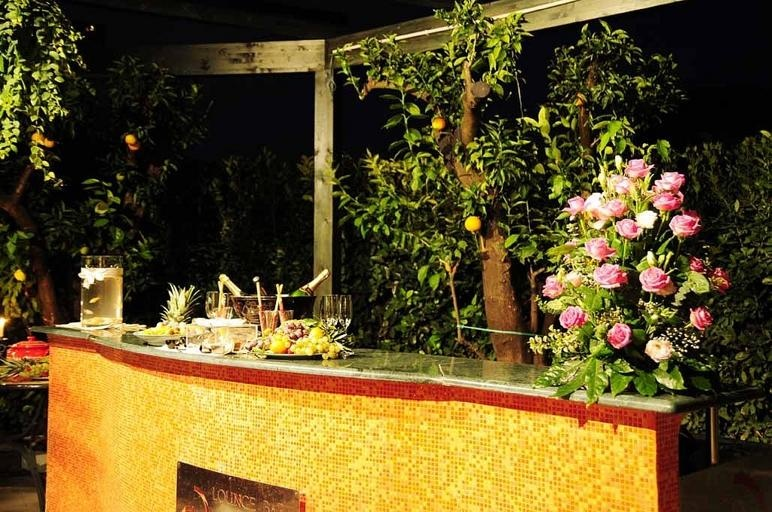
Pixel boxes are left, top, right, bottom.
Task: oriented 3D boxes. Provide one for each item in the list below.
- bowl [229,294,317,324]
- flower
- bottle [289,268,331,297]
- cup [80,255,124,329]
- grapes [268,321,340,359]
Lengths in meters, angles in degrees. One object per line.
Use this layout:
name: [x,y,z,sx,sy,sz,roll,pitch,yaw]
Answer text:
bowl: [-0.780,0.364,4.470,0.566,0.199,0.443,1,-7,-13]
flower: [1.304,0.217,3.553,0.739,1.512,0.781,5,3,11]
bottle: [-0.541,0.216,4.790,0.242,0.200,0.570,-1,-7,0]
cup: [-2.309,0.309,5.299,0.291,0.619,0.241,-3,7,-14]
grapes: [-0.521,0.537,4.048,0.235,0.151,0.338,0,-5,2]
